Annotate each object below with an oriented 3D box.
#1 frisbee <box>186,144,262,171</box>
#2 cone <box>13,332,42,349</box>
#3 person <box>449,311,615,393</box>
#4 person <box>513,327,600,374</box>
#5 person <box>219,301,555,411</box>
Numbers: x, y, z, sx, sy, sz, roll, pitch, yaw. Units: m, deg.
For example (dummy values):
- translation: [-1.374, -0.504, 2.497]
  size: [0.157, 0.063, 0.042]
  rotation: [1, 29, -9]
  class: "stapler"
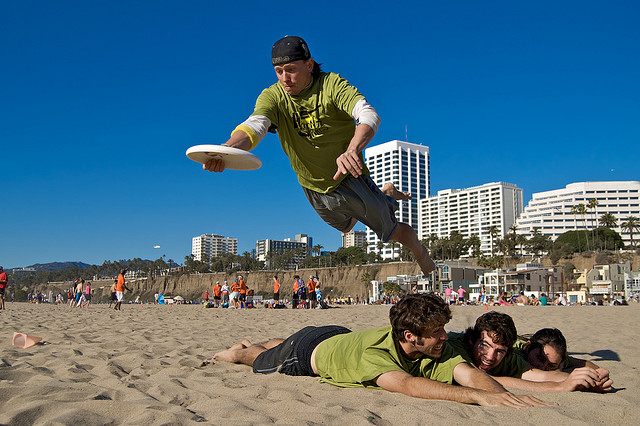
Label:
- translation: [-0.890, -0.506, 4.635]
  size: [0.614, 0.105, 0.613]
  rotation: [6, -13, -11]
  class: "frisbee"
- translation: [-4.236, 1.811, 7.321]
  size: [0.316, 0.194, 0.339]
  rotation: [-3, -10, 18]
  class: "cone"
- translation: [2.141, 1.436, 5.642]
  size: [1.808, 0.768, 0.843]
  rotation: [-5, -7, 38]
  class: "person"
- translation: [2.699, 1.557, 5.977]
  size: [0.623, 0.309, 0.851]
  rotation: [4, -2, -3]
  class: "person"
- translation: [0.335, 1.527, 5.944]
  size: [4.109, 0.985, 0.979]
  rotation: [-4, -8, 37]
  class: "person"
